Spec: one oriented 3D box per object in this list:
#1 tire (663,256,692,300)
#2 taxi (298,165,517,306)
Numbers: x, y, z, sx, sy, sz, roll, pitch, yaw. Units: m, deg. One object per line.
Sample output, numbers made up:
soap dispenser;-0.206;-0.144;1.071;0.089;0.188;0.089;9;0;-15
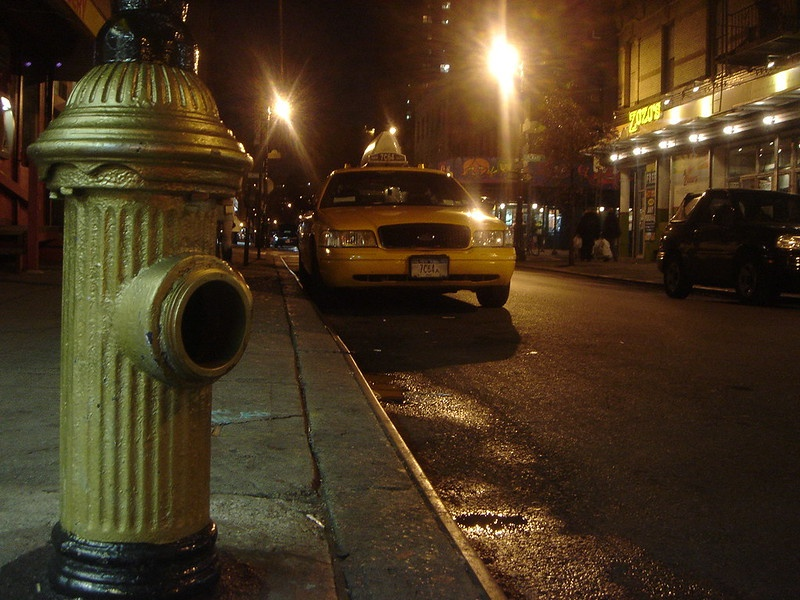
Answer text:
tire;5.018;-0.387;13.600;0.204;0.727;0.671;4;5;-11
taxi;0.050;-1.032;9.917;1.490;1.286;3.605;0;0;-10
